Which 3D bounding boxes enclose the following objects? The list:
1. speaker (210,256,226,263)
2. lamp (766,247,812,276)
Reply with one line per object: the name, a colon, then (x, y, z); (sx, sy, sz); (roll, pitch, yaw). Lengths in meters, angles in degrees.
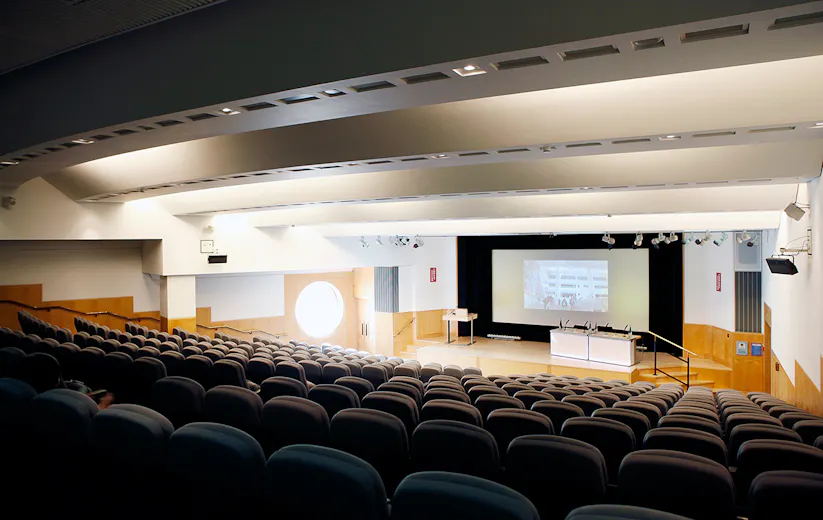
speaker: (-5.733, -0.036, 14.949); (0.159, 0.264, 0.580); (-1, -5, 32)
lamp: (7.356, 0.033, 9.664); (0.850, 0.498, 0.820); (-5, -1, -9)
